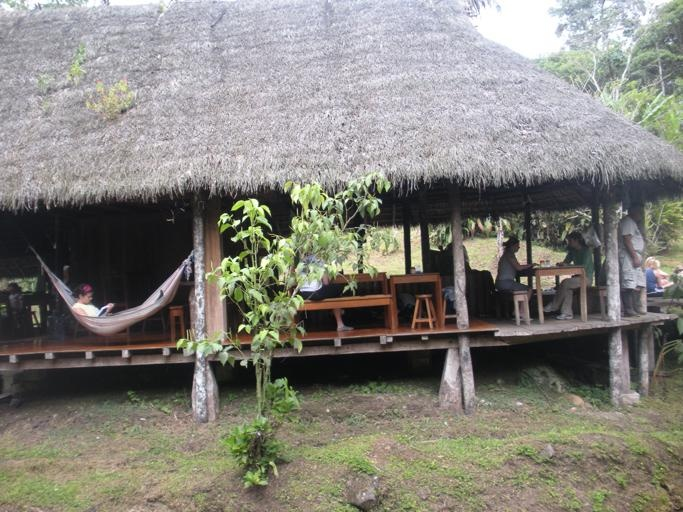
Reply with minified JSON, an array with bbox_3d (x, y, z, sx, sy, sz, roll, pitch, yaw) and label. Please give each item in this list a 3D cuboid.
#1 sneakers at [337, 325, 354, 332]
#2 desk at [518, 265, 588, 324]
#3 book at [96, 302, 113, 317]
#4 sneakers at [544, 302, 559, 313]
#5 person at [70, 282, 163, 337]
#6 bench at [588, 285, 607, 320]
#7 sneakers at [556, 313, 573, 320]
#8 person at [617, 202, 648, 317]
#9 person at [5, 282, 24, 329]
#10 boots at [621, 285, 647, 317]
[{"bbox_3d":[0.065,1.338,10.824,0.230,0.096,0.126,-3,-4,5],"label":"sneakers"},{"bbox_3d":[4.109,0.629,11.131,1.009,1.141,1.190,0,-1,5],"label":"desk"},{"bbox_3d":[-4.313,0.984,10.738,0.329,0.158,0.425,-23,1,-41],"label":"book"},{"bbox_3d":[4.221,1.051,11.734,0.194,0.182,0.369,-3,-11,44],"label":"sneakers"},{"bbox_3d":[-4.038,0.926,10.322,1.251,0.686,1.947,-6,3,-39],"label":"person"},{"bbox_3d":[4.997,0.861,11.486,0.331,0.614,1.215,-3,3,22],"label":"bench"},{"bbox_3d":[4.284,1.173,11.274,0.262,0.113,0.130,3,-4,5],"label":"sneakers"},{"bbox_3d":[5.586,0.173,11.296,0.589,1.949,0.346,-6,4,-43],"label":"person"},{"bbox_3d":[-7.053,1.074,12.691,0.326,0.883,0.351,-5,3,-23],"label":"person"},{"bbox_3d":[5.621,0.885,11.372,0.548,0.734,0.448,-5,-5,38],"label":"boots"}]
